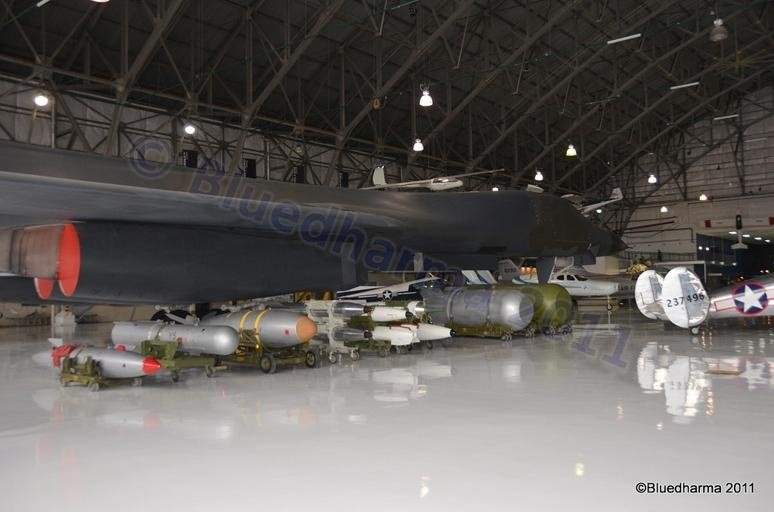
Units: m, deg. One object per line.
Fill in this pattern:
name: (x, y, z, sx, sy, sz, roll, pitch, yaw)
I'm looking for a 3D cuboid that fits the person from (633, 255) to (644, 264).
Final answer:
person: (15.887, 0.258, 38.314, 0.464, 0.318, 0.714, -2, -12, 9)
